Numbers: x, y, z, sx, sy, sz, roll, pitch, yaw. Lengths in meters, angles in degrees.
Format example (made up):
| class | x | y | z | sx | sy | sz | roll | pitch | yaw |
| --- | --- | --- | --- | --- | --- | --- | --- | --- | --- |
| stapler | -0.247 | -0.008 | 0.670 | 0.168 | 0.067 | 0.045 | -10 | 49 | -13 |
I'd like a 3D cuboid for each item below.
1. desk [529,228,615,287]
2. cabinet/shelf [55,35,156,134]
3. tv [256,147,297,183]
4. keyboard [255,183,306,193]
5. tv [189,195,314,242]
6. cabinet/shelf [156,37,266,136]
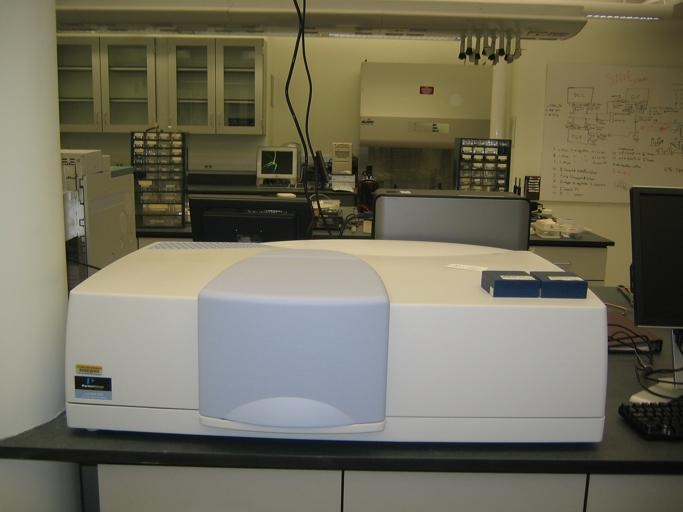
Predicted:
| class | x | y | z | sx | sy | sz | roll | pitch | yaw |
| --- | --- | --- | --- | --- | --- | --- | --- | --- | --- |
| desk | 1.368 | 0.027 | 3.692 | 0.456 | 0.495 | 0.381 | -1 | 33 | 21 |
| cabinet/shelf | -2.039 | -1.426 | 5.215 | 0.853 | 0.891 | 0.311 | -3 | -6 | -10 |
| tv | -0.487 | -0.693 | 4.598 | 0.311 | 0.291 | 0.261 | 0 | 10 | -8 |
| keyboard | -0.457 | -0.504 | 4.396 | 0.328 | 0.054 | 0.739 | 0 | 11 | -6 |
| tv | -0.431 | -0.173 | 2.882 | 0.585 | 0.216 | 0.134 | 2 | 10 | 2 |
| cabinet/shelf | -1.105 | -1.473 | 5.224 | 0.825 | 0.788 | 0.339 | -4 | 25 | -22 |
